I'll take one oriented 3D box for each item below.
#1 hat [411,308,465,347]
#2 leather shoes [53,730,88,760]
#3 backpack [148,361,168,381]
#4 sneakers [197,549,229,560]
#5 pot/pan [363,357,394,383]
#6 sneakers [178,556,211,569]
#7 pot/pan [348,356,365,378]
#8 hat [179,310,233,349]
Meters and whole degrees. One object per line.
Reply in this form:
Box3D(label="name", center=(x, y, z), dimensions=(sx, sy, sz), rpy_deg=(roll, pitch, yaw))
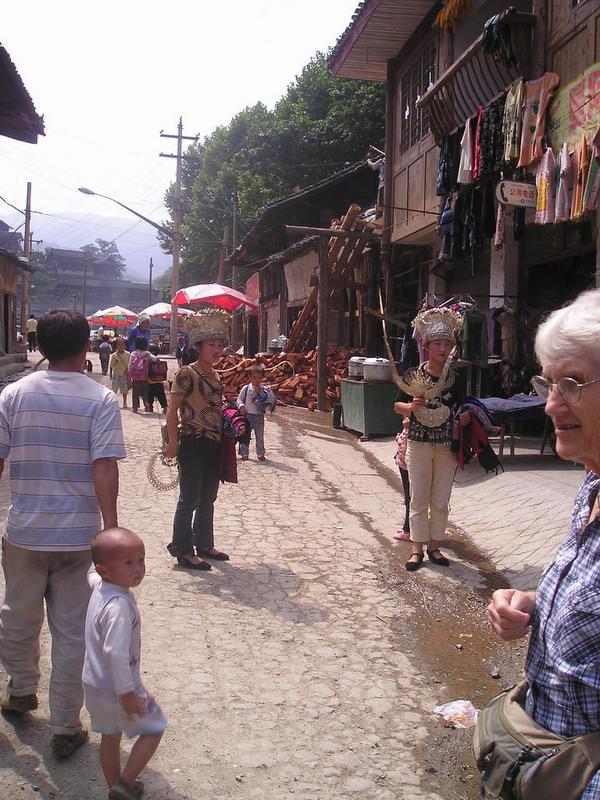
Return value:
Box3D(label="hat", center=(0.945, -0.510, 5.299), dimensions=(0.287, 0.159, 0.289), rpy_deg=(2, 6, 1))
Box3D(label="leather shoes", center=(-0.851, 1.268, 2.826), dimensions=(0.052, 0.062, 0.147), rpy_deg=(1, 2, 11))
Box3D(label="backpack", center=(-2.420, -0.523, 13.137), dimensions=(0.347, 0.467, 0.364), rpy_deg=(1, 7, -3))
Box3D(label="sneakers", center=(-0.609, 1.088, 5.351), dimensions=(0.229, 0.086, 0.075), rpy_deg=(-1, 0, 4))
Box3D(label="pot/pan", center=(1.181, -0.464, 11.842), dimensions=(0.391, 0.318, 0.380), rpy_deg=(1, 7, 1))
Box3D(label="sneakers", center=(-0.716, 1.085, 5.151), dimensions=(0.211, 0.079, 0.085), rpy_deg=(-1, 1, 18))
Box3D(label="pot/pan", center=(0.925, -0.530, 12.242), dimensions=(0.325, 0.342, 0.398), rpy_deg=(9, 11, 38))
Box3D(label="hat", center=(-0.626, -0.482, 5.109), dimensions=(0.297, 0.237, 0.307), rpy_deg=(1, 3, -9))
